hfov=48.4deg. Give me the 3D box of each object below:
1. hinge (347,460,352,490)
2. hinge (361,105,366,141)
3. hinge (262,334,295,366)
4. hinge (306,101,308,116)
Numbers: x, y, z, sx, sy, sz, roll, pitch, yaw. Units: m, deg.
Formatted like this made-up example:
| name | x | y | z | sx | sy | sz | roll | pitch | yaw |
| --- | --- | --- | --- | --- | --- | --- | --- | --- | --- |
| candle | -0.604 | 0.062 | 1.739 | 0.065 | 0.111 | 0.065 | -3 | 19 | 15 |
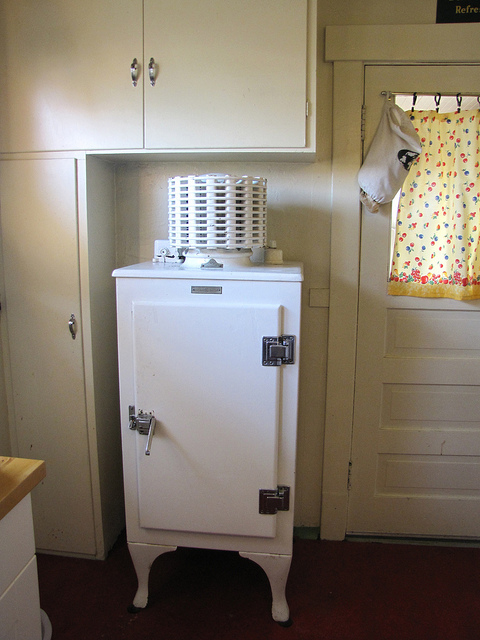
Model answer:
| name | x | y | z | sx | sy | sz | roll | pitch | yaw |
| --- | --- | --- | --- | --- | --- | --- | --- | --- | --- |
| hinge | 0.454 | 0.640 | 2.214 | 0.020 | 0.125 | 0.010 | -2 | 9 | -13 |
| hinge | 0.460 | -0.741 | 1.994 | 0.007 | 0.128 | 0.030 | 7 | 11 | 35 |
| hinge | 0.110 | 0.082 | 1.564 | 0.076 | 0.086 | 0.024 | 1 | 8 | -1 |
| hinge | 0.210 | -0.665 | 1.679 | 0.002 | 0.038 | 0.008 | 8 | 12 | 38 |
